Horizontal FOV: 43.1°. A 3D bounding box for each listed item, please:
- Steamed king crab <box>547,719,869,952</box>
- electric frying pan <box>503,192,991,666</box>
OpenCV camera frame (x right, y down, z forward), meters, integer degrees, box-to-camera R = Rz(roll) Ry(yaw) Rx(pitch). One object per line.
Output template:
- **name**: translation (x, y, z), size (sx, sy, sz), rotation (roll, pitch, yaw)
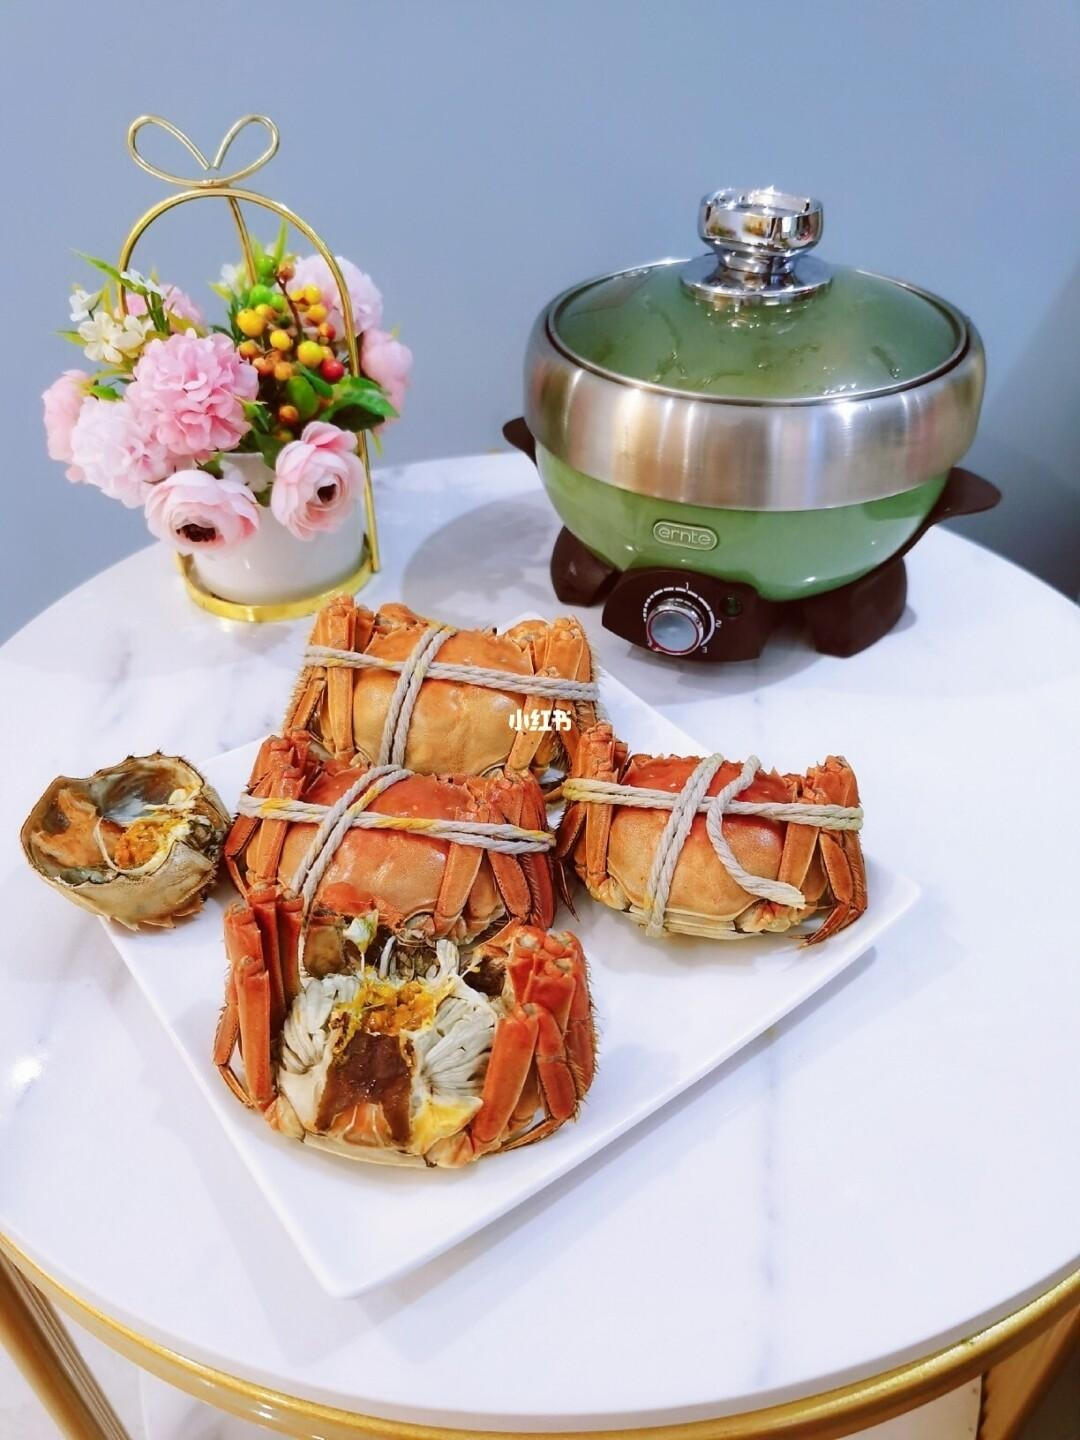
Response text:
- **Steamed king crab**: translation (0.088, 0.059, 0.733), size (0.179, 0.070, 0.104), rotation (9, 37, 18)
- **electric frying pan**: translation (0.141, -0.190, 1.010), size (0.415, 0.267, 0.311), rotation (14, 44, 16)
